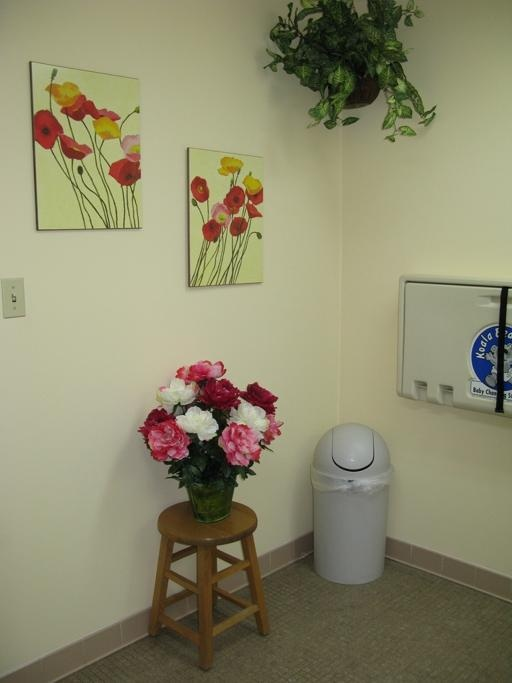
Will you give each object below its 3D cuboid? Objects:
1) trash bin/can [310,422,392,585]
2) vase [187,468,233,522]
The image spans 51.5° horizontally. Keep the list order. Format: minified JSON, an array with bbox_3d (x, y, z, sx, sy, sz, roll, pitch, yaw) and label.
[{"bbox_3d":[0.412,0.726,2.332,0.352,0.705,0.218,1,4,13],"label":"trash bin/can"},{"bbox_3d":[-0.137,0.518,1.845,0.174,0.146,0.169,-6,8,-36],"label":"vase"}]
